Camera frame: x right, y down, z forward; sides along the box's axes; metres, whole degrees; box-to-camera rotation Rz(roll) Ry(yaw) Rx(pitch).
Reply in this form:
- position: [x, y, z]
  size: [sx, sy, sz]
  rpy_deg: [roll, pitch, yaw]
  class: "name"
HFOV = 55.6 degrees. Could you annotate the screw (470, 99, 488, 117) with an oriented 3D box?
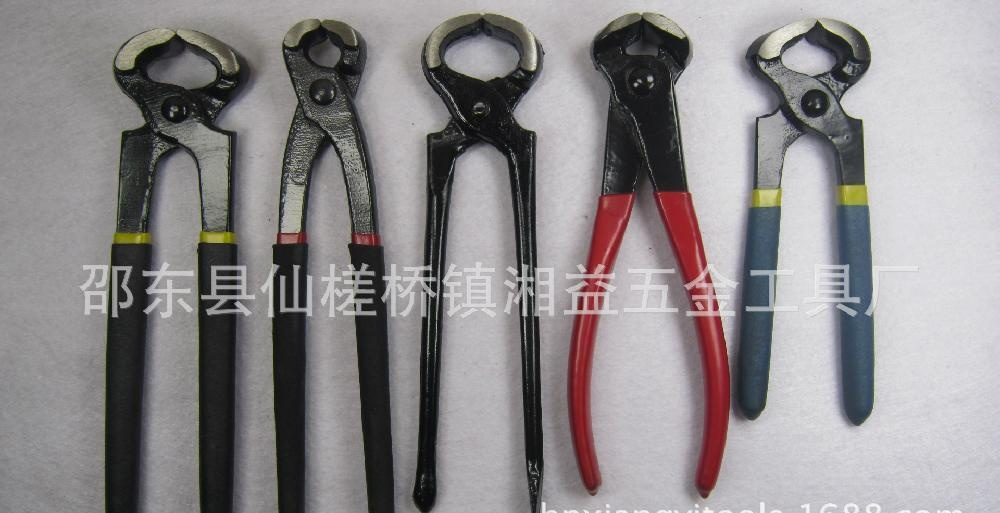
- position: [-0.055, -0.401, 2.520]
  size: [0.058, 0.045, 0.012]
  rpy_deg: [3, 3, 4]
  class: "screw"
